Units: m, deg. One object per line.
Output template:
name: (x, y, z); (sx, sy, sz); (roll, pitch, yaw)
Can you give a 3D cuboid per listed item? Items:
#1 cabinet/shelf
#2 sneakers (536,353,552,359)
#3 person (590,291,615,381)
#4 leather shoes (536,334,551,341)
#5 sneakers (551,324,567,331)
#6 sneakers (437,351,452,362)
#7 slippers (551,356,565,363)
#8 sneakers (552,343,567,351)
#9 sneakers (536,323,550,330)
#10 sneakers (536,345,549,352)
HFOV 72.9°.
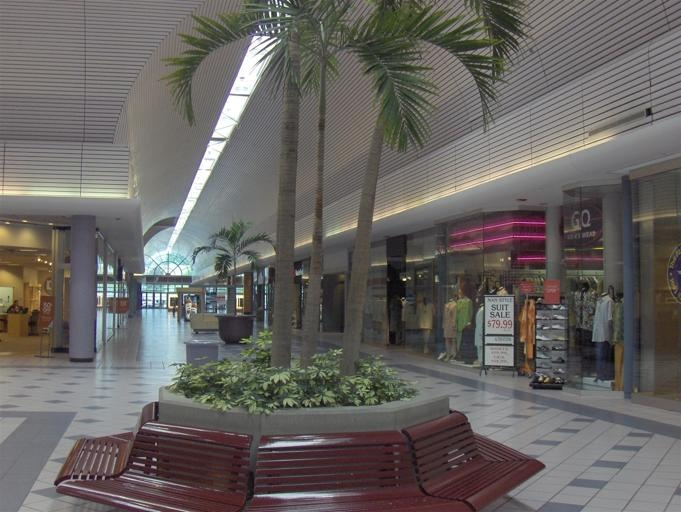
cabinet/shelf: (4.559, 1.983, 10.069); (0.935, 1.987, 0.849); (-1, -18, 30)
sneakers: (4.442, 2.168, 9.999); (0.270, 0.097, 0.093); (-1, -5, 19)
person: (4.969, 1.472, 8.644); (0.367, 1.767, 0.159); (-2, -5, 28)
leather shoes: (4.424, 1.778, 9.996); (0.267, 0.103, 0.098); (2, -4, 10)
sneakers: (4.747, 1.536, 9.973); (0.290, 0.114, 0.100); (-1, -2, 9)
sneakers: (2.898, 2.778, 12.746); (0.125, 0.183, 0.408); (0, -19, -10)
slippers: (4.691, 2.208, 9.860); (0.250, 0.155, 0.024); (-1, -5, 14)
sneakers: (4.691, 1.936, 9.837); (0.323, 0.133, 0.120); (-2, -2, 9)
sneakers: (4.426, 1.533, 10.043); (0.259, 0.108, 0.102); (-1, -4, 12)
sneakers: (4.413, 2.001, 9.987); (0.260, 0.108, 0.088); (5, 9, 13)
